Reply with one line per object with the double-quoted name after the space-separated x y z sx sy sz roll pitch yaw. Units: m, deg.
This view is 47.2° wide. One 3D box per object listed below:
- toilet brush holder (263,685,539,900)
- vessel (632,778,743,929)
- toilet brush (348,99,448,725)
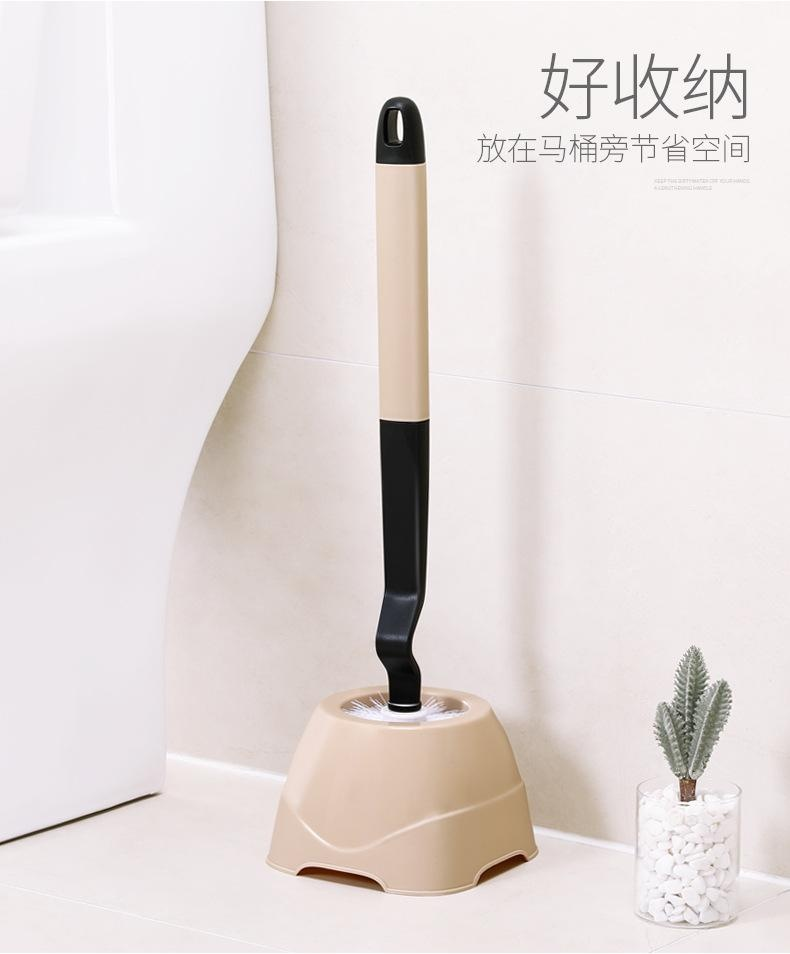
0.000 0.228 0.650 0.196 0.118 0.092 -1 -1 9 "toilet brush holder"
0.180 0.237 0.595 0.066 0.094 0.074 1 3 2 "vessel"
0.004 -0.038 0.665 0.040 0.430 0.131 -1 -1 1 "toilet brush"
